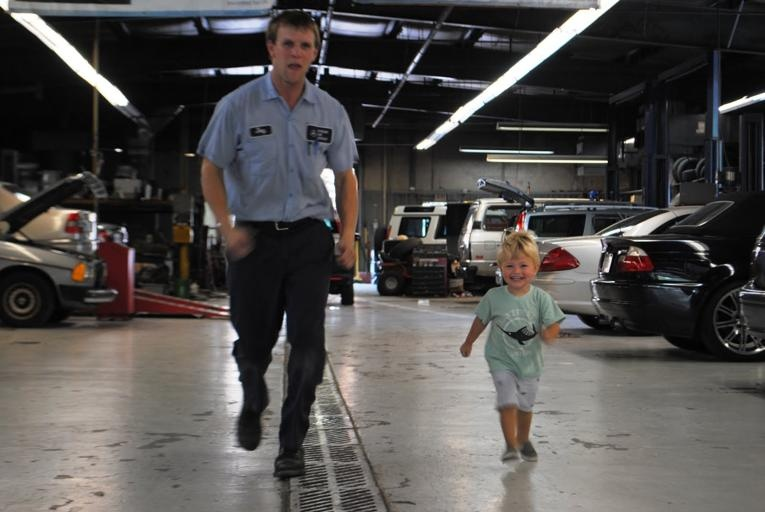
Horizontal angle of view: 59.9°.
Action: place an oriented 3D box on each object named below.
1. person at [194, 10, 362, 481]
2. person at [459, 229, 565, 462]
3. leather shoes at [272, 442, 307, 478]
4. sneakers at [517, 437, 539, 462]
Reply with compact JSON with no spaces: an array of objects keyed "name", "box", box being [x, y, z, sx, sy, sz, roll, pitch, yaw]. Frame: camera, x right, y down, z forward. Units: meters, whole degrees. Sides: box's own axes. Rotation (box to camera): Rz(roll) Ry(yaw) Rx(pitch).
[{"name":"person","box":[-0.609,-0.072,3.909,0.891,2.653,0.351,0,1,-2]},{"name":"person","box":[0.810,0.550,4.154,0.606,1.397,0.349,1,1,11]},{"name":"leather shoes","box":[-0.541,1.190,3.843,0.175,0.169,0.157,0,2,-11]},{"name":"sneakers","box":[0.906,1.215,4.171,0.156,0.123,0.087,0,-3,14]}]
